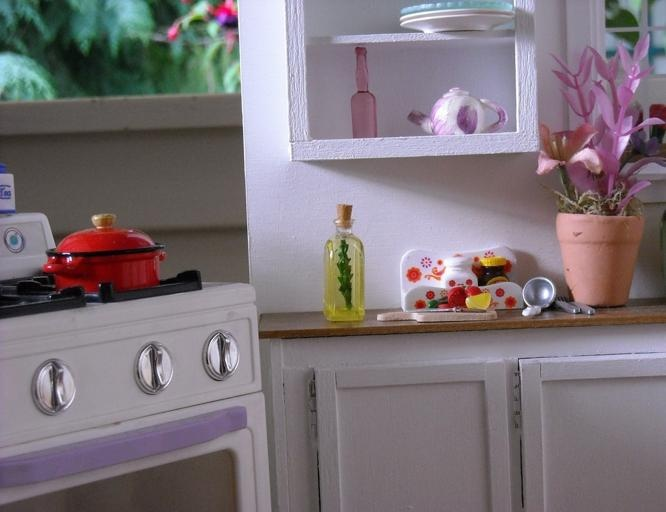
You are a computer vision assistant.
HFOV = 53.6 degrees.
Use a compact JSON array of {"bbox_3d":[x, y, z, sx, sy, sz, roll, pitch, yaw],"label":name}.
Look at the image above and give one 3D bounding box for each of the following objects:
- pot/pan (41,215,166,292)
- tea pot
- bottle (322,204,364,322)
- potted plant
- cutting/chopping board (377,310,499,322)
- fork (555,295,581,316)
[{"bbox_3d":[-0.579,0.006,1.680,0.194,0.135,0.241,2,4,43],"label":"pot/pan"},{"bbox_3d":[0.416,-0.424,2.143,0.261,0.163,0.178,0,3,8],"label":"tea pot"},{"bbox_3d":[0.033,0.024,2.125,0.131,0.364,0.118,-2,8,1],"label":"bottle"},{"bbox_3d":[0.912,-0.293,2.244,0.403,0.895,0.400,0,8,18],"label":"potted plant"},{"bbox_3d":[0.321,0.182,2.053,0.363,0.029,0.098,-2,8,1],"label":"cutting/chopping board"},{"bbox_3d":[0.765,0.162,2.145,0.074,0.025,0.172,0,8,15],"label":"fork"}]
